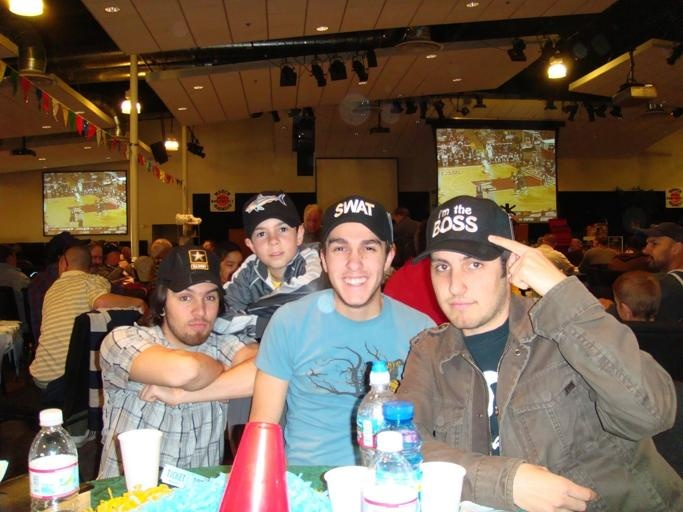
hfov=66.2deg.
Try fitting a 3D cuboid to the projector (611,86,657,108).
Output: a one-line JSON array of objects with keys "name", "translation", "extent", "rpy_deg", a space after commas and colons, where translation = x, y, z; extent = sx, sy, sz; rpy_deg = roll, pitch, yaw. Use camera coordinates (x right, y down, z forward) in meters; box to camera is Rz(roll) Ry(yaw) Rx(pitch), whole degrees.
[{"name": "projector", "translation": [5.067, -2.739, 8.930], "extent": [0.436, 0.179, 0.457], "rpy_deg": [-2, 5, -16]}]

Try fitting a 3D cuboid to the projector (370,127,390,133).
[{"name": "projector", "translation": [0.974, -3.326, 13.846], "extent": [0.326, 0.094, 0.293], "rpy_deg": [-1, 5, -13]}]

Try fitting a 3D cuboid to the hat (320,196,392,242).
[{"name": "hat", "translation": [0.078, -0.144, 2.372], "extent": [0.317, 0.199, 0.447], "rpy_deg": [-2, -2, 4]}]

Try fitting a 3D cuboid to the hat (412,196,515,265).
[{"name": "hat", "translation": [0.486, -0.110, 2.073], "extent": [0.252, 0.170, 0.339], "rpy_deg": [1, 5, 42]}]

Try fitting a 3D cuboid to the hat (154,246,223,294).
[{"name": "hat", "translation": [-0.746, 0.067, 2.582], "extent": [0.210, 0.146, 0.279], "rpy_deg": [2, -5, -37]}]

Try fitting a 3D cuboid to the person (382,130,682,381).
[{"name": "person", "translation": [0.763, 0.134, 2.839], "extent": [1.556, 0.983, 0.363], "rpy_deg": [3, -14, -3]}]

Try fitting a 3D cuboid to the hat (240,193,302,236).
[{"name": "hat", "translation": [-0.447, -0.296, 3.280], "extent": [0.369, 0.257, 0.587], "rpy_deg": [-15, 5, -13]}]

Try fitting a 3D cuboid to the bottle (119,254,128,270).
[{"name": "bottle", "translation": [-4.184, 0.114, 10.022], "extent": [0.101, 0.203, 0.203], "rpy_deg": [-18, 21, -20]}]

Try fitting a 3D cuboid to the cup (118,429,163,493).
[{"name": "cup", "translation": [-0.627, 0.647, 1.658], "extent": [0.134, 0.172, 0.100], "rpy_deg": [1, 2, 25]}]
